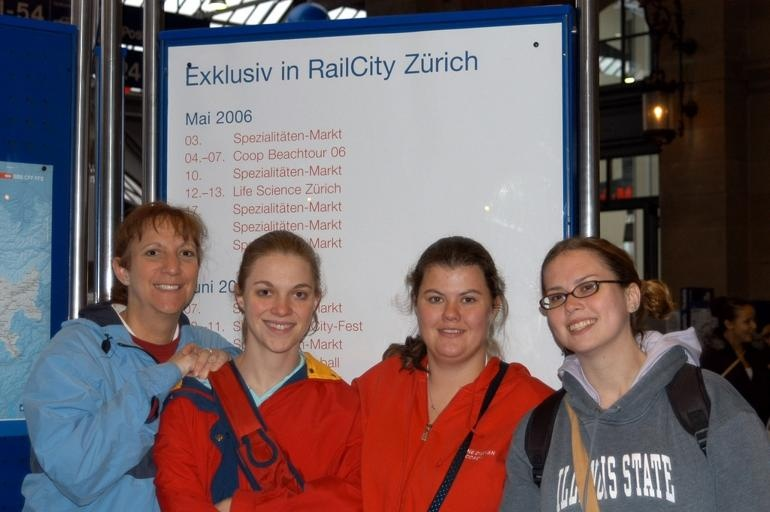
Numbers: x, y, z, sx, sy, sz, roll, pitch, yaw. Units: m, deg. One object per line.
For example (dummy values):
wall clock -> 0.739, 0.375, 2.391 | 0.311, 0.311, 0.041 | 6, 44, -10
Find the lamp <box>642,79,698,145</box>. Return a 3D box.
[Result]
lamp -> 3.496, -1.787, 9.677 | 0.641, 0.808, 0.211 | -2, -7, 23

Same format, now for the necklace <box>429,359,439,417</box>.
necklace -> 0.273, 0.778, 4.476 | 0.074, 0.270, 0.047 | -7, -16, 24
